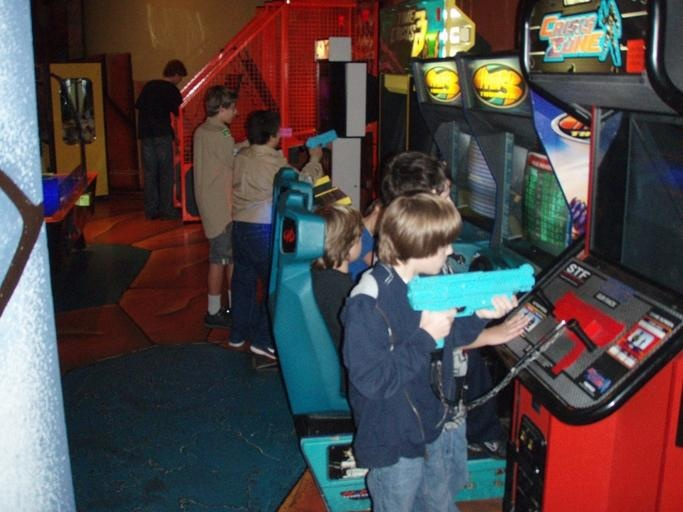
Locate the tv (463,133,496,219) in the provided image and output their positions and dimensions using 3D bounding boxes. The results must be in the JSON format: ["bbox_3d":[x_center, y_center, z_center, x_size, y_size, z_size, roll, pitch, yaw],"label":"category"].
[{"bbox_3d":[0.888,-0.444,3.257,0.220,0.438,0.274,12,22,42],"label":"tv"}]

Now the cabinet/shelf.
[{"bbox_3d":[-3.703,-1.717,7.846,0.695,2.091,0.201,-5,-6,-14],"label":"cabinet/shelf"}]

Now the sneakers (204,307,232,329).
[{"bbox_3d":[-0.928,0.480,4.197,0.242,0.122,0.097,-4,1,-4],"label":"sneakers"}]

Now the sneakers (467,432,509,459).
[{"bbox_3d":[0.658,0.861,2.500,0.120,0.074,0.095,-8,0,5],"label":"sneakers"}]

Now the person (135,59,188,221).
[{"bbox_3d":[-2.365,-1.382,7.207,0.698,1.777,0.273,3,15,15],"label":"person"}]
